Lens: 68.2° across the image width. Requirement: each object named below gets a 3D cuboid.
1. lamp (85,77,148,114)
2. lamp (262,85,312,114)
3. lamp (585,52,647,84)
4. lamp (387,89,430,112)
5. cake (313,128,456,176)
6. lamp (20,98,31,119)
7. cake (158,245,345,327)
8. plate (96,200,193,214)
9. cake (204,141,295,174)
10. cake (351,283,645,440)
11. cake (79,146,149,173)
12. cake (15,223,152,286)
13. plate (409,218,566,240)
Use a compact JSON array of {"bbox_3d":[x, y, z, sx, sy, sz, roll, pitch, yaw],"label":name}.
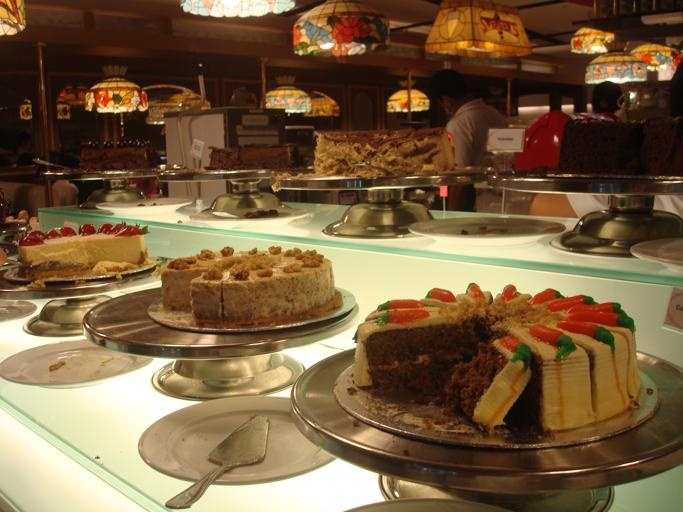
[{"bbox_3d":[-2.758,-1.914,6.215,0.775,0.316,0.628,-2,20,-8],"label":"lamp"},{"bbox_3d":[-0.828,-2.277,7.216,0.474,0.376,0.631,8,15,37],"label":"lamp"},{"bbox_3d":[2.932,-2.014,5.384,0.567,0.353,0.448,3,13,21],"label":"lamp"},{"bbox_3d":[1.259,-2.936,9.586,1.002,0.375,0.832,2,16,10],"label":"lamp"},{"bbox_3d":[0.171,-0.385,1.878,0.489,0.110,0.259,-1,4,-5],"label":"cake"},{"bbox_3d":[-4.283,-1.991,6.851,0.162,0.297,0.038,-15,19,-42],"label":"lamp"},{"bbox_3d":[-0.281,0.085,1.535,0.552,0.163,0.442,5,13,28],"label":"cake"},{"bbox_3d":[-0.908,-0.245,2.452,0.428,0.052,0.334,-8,13,-31],"label":"plate"},{"bbox_3d":[-0.596,-0.614,3.107,0.613,0.140,0.478,1,11,9],"label":"cake"},{"bbox_3d":[0.319,0.187,1.040,0.491,0.180,0.398,9,15,41],"label":"cake"},{"bbox_3d":[-2.219,-0.969,4.998,0.708,0.211,0.636,-1,11,-1],"label":"cake"},{"bbox_3d":[-1.046,-0.020,2.038,0.485,0.178,0.518,-9,14,-33],"label":"cake"},{"bbox_3d":[0.414,-0.084,1.465,0.428,0.025,0.317,0,11,7],"label":"plate"}]
